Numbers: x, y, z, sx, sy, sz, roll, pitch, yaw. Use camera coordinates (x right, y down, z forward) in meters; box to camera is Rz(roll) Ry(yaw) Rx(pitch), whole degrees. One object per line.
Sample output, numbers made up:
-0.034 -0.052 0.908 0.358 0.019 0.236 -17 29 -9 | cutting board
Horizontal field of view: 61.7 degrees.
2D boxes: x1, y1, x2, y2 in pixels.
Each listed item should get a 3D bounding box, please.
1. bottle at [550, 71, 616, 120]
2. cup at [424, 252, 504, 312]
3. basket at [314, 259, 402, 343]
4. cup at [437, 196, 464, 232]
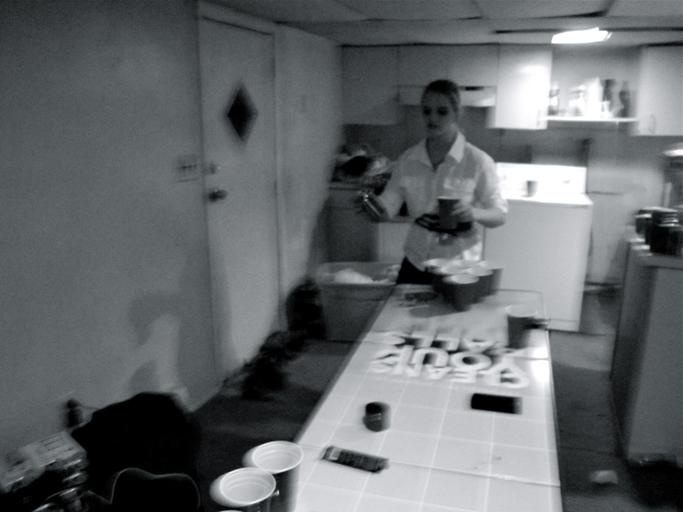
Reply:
0.558 -0.363 1.318 0.148 0.094 0.029 -3 14 -2 | bottle
0.336 0.065 1.493 0.146 0.078 0.156 -2 4 0 | cup
0.033 0.111 1.605 0.256 0.175 0.228 1 1 4 | basket
0.282 -0.110 1.545 0.083 0.090 0.071 -1 7 2 | cup
